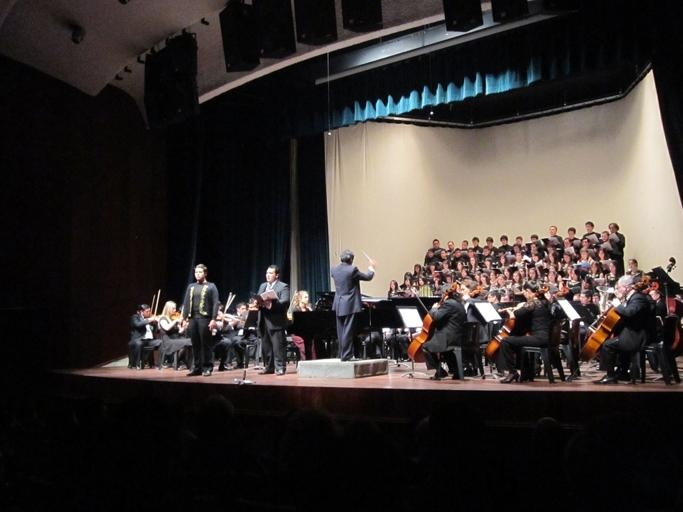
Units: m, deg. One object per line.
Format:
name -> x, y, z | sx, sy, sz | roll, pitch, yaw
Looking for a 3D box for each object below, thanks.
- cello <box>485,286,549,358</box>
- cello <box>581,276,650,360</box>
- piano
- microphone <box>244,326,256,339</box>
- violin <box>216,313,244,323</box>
cello -> 2.094, 0.697, 6.689 | 0.510, 0.761, 0.788 | 3, -8, -19
cello -> 3.165, 0.717, 6.562 | 0.665, 0.955, 0.766 | -4, -8, 30
piano -> -0.108, 1.072, 8.709 | 1.112, 1.366, 0.965 | 0, -4, 9
microphone -> -1.492, 1.252, 9.220 | 0.197, 0.065, 0.237 | -14, -36, 3
violin -> -1.894, 1.039, 9.483 | 0.380, 0.115, 0.270 | 6, -6, 1
